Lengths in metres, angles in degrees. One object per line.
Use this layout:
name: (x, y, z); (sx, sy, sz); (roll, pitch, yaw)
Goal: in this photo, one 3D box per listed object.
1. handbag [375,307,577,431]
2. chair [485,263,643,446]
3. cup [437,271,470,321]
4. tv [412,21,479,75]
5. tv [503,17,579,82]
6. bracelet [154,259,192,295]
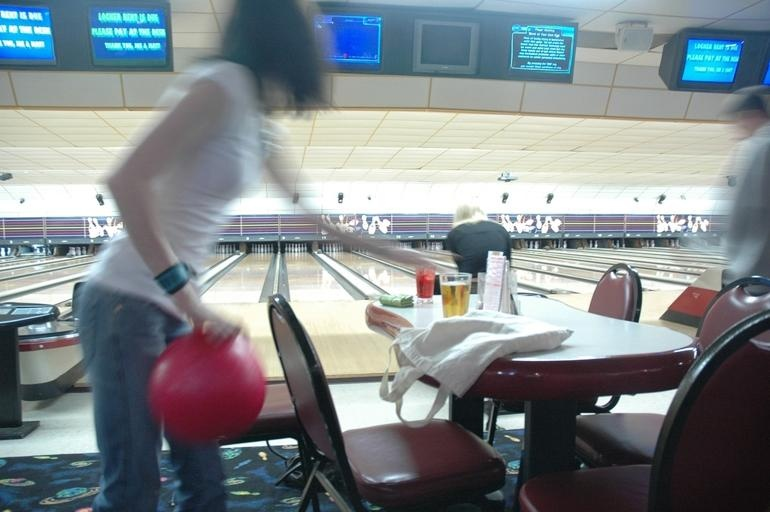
handbag: (0.252, 0.290, 1.352); (0.425, 0.127, 0.401); (-7, 2, -21)
chair: (0.793, 0.503, 2.250); (0.712, 0.920, 0.543); (-5, 5, -1)
cup: (0.239, 0.135, 1.652); (0.151, 0.195, 0.143); (0, 4, 0)
tv: (0.414, -1.506, 3.381); (0.399, 0.259, 0.038); (2, 11, -6)
tv: (1.109, -1.512, 3.465); (0.529, 0.333, 0.064); (3, -1, 7)
bracelet: (-0.523, 0.055, 1.211); (0.082, 0.031, 0.082); (-33, 2, -31)
